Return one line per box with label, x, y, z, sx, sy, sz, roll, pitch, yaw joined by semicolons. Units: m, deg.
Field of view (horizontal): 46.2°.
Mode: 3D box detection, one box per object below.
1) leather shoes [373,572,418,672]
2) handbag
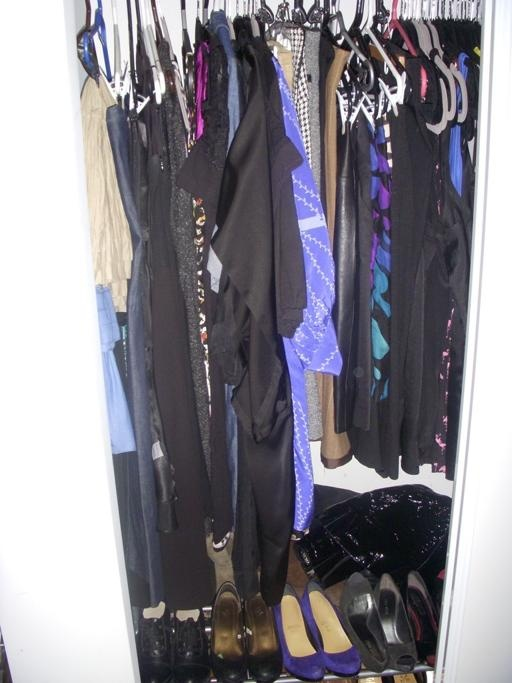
leather shoes;0.328;0.647;1.395;0.039;0.052;0.180;-5;44;4
handbag;0.331;0.529;1.633;0.322;0.141;0.306;-16;40;-6
